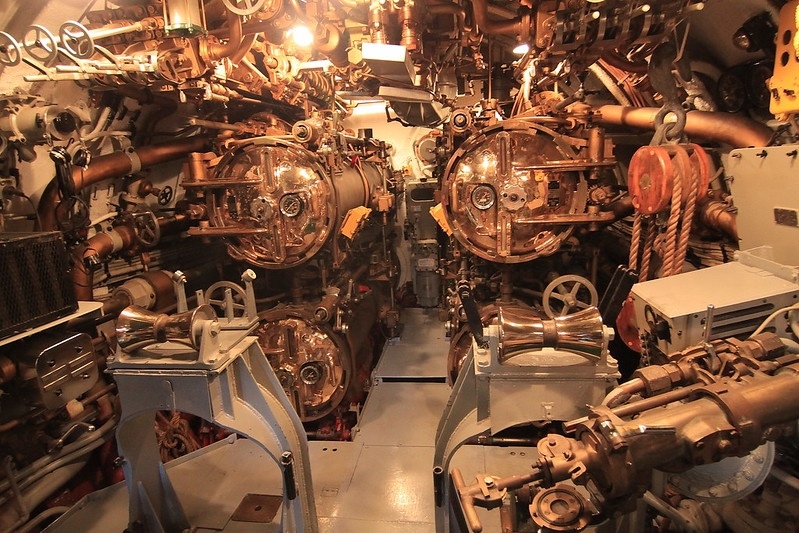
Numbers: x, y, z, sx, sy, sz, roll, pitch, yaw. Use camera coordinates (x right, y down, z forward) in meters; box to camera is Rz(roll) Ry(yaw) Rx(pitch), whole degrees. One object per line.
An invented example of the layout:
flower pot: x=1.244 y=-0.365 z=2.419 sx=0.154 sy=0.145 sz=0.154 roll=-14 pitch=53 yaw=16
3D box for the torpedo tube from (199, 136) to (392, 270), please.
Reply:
torpedo tube: x=-1.905 y=-0.903 z=8.788 sx=1.786 sy=1.562 sz=2.966 roll=-5 pitch=7 yaw=-9

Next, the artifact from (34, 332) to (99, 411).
artifact: x=-3.375 y=1.228 z=6.272 sx=0.621 sy=0.623 sz=0.766 roll=-15 pitch=50 yaw=-28

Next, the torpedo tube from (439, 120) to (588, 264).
torpedo tube: x=1.375 y=-0.908 z=7.269 sx=1.694 sy=1.722 sz=0.361 roll=-3 pitch=10 yaw=2

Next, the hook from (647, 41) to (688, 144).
hook: x=2.717 y=-1.757 z=6.022 sx=0.342 sy=1.012 sz=0.261 roll=0 pitch=11 yaw=20
